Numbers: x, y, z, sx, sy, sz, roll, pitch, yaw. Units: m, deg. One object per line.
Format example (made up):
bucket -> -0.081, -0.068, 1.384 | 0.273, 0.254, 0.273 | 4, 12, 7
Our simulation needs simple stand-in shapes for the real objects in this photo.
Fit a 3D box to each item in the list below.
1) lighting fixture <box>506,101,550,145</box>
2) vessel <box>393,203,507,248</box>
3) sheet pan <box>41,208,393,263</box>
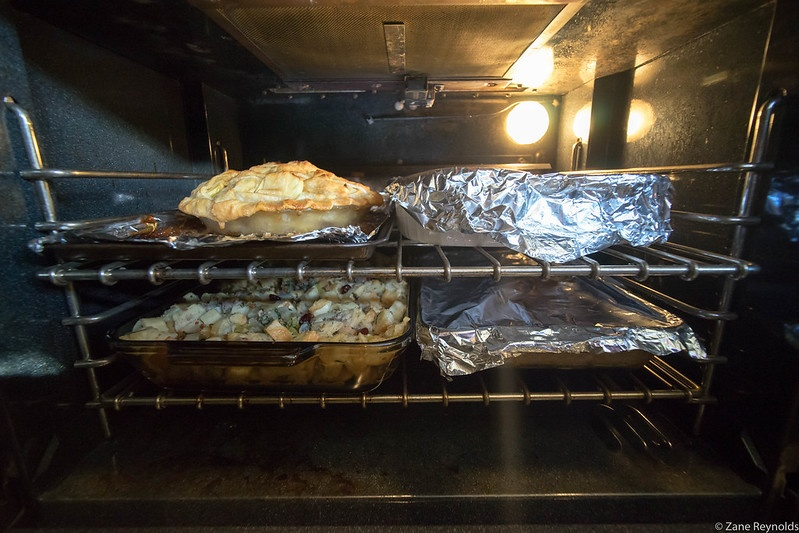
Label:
lighting fixture -> 0.406, -0.455, 1.767 | 0.200, 0.117, 0.036 | 5, 17, 4
vessel -> 0.070, -0.099, 1.482 | 0.383, 0.077, 0.257 | -3, -3, -34
sheet pan -> -0.414, -0.068, 1.345 | 0.745, 0.094, 0.318 | 2, 0, -3
